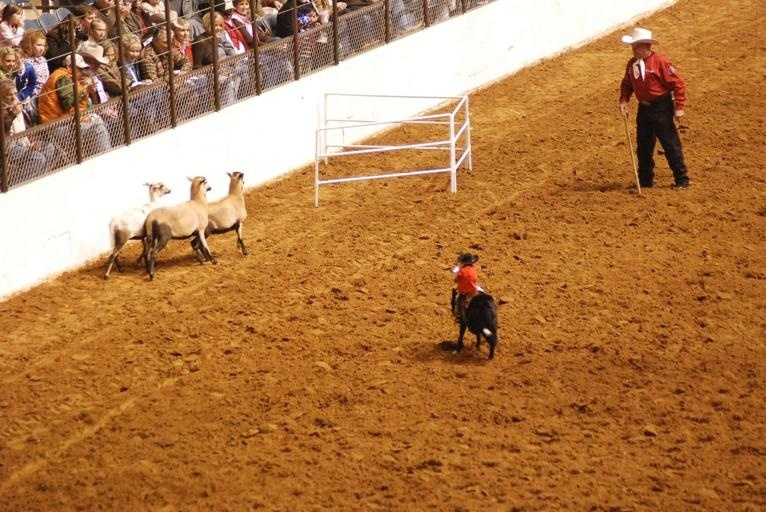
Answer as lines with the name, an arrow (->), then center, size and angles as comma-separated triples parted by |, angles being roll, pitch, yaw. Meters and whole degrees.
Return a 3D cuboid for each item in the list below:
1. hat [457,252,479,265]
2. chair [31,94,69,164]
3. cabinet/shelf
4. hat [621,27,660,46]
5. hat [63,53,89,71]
hat -> 1.507, 0.110, 16.582 | 0.249, 0.087, 0.266 | -10, 27, 17
chair -> -6.888, -2.470, 19.268 | 0.305, 1.223, 0.675 | -20, 21, 2
cabinet/shelf -> 0.374, -2.295, 24.719 | 3.625, 2.225, 3.567 | 1, 21, 3
hat -> 5.540, -4.731, 20.274 | 0.603, 0.392, 0.958 | -7, 19, 4
hat -> -6.378, -4.028, 19.528 | 0.384, 0.223, 0.269 | 13, 18, 1
